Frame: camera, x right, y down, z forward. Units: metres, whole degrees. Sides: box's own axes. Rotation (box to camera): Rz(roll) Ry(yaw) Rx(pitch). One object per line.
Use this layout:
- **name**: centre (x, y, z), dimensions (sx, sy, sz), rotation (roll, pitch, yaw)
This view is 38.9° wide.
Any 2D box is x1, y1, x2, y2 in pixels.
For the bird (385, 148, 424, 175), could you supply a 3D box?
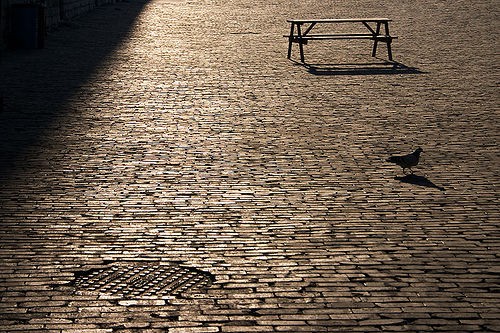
- **bird**: centre (2.194, -0.081, 9.786), dimensions (0.586, 0.219, 0.202), rotation (-2, 1, 35)
